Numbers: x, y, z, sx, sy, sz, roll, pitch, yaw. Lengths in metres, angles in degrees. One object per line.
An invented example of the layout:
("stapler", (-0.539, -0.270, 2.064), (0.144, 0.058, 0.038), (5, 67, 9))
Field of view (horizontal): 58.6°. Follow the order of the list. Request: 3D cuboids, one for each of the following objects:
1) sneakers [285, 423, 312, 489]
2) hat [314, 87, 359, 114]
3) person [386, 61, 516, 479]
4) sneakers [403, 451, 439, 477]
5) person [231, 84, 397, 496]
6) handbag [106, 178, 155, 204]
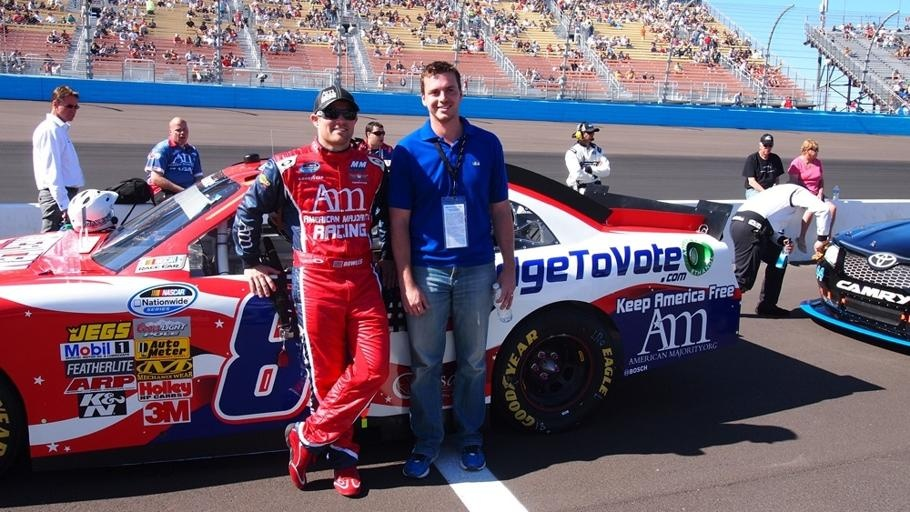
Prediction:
("sneakers", (-1.434, 1.829, 7.453), (0.223, 0.696, 0.293), (-8, 12, -29))
("hat", (-1.096, -1.431, 7.359), (0.381, 0.222, 0.314), (-3, 17, -10))
("person", (-0.020, 0.155, 7.533), (1.151, 3.751, 0.913), (-2, 16, -5))
("sneakers", (-0.337, 1.991, 7.667), (0.162, 0.159, 0.362), (1, -3, 13))
("person", (-1.229, 0.341, 7.339), (1.236, 3.566, 0.851), (-3, 16, -8))
("handbag", (-3.985, -0.758, 9.956), (0.406, 0.167, 0.329), (5, 48, -7))
